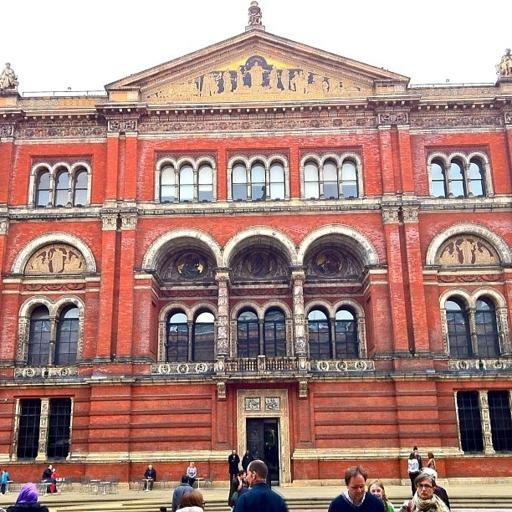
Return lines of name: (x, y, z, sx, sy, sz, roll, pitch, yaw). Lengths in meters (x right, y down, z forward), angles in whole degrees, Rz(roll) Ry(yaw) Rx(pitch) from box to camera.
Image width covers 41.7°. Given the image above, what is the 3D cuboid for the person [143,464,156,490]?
person: (-4.477, 9.435, 28.342, 0.527, 1.007, 0.547, 5, -19, -22)
